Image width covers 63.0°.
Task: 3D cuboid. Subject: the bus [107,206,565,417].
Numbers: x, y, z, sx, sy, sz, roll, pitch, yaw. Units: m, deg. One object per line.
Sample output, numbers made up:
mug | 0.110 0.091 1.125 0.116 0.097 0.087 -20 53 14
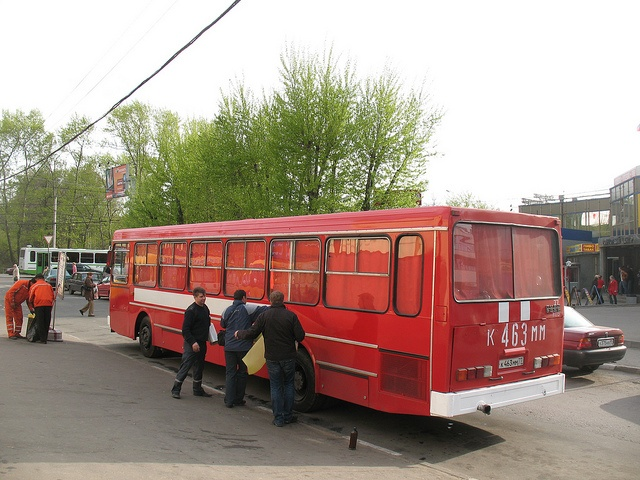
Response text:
bus | -1.044 1.341 11.874 10.355 3.668 3.131 1 -3 39

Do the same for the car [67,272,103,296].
car | -14.139 2.663 31.335 1.630 1.519 3.529 2 0 -42

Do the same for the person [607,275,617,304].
person | 17.210 2.951 30.516 0.493 1.641 1.488 3 1 30

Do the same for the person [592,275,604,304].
person | 16.649 2.953 31.175 0.614 1.588 2.278 3 1 28

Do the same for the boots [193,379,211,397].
boots | -2.315 2.959 10.465 0.478 0.372 0.187 3 0 -18

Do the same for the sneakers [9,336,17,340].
sneakers | -9.245 2.933 15.648 0.260 0.110 0.090 -13 -8 40

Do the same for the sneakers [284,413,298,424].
sneakers | -0.500 3.077 8.994 0.095 0.134 0.299 4 5 27

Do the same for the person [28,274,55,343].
person | -8.101 1.988 15.117 0.631 1.957 0.769 1 2 -31
